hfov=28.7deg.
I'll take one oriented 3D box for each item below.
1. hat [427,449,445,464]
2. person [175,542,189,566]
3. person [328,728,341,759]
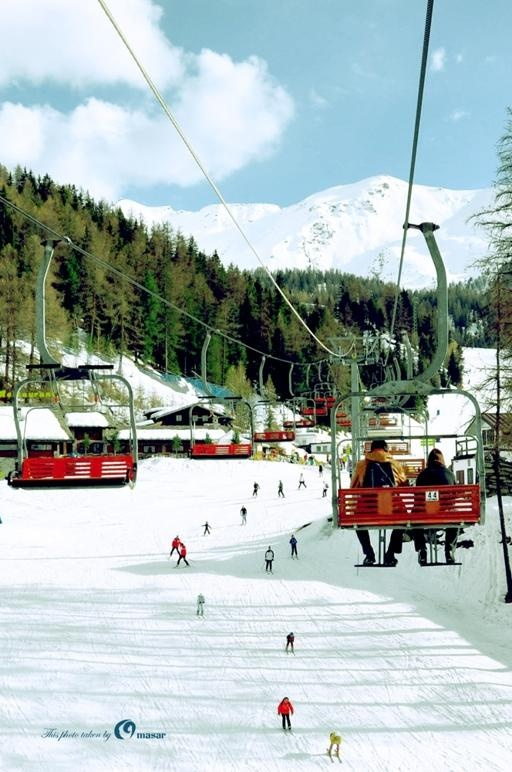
[{"bbox_3d":[3.798,1.479,21.122,0.292,0.382,0.362,0,12,17],"label":"hat"},{"bbox_3d":[-3.014,6.700,40.412,0.487,0.948,2.046,0,3,-3],"label":"person"},{"bbox_3d":[1.760,8.065,22.684,0.316,0.643,0.997,1,3,4],"label":"person"}]
